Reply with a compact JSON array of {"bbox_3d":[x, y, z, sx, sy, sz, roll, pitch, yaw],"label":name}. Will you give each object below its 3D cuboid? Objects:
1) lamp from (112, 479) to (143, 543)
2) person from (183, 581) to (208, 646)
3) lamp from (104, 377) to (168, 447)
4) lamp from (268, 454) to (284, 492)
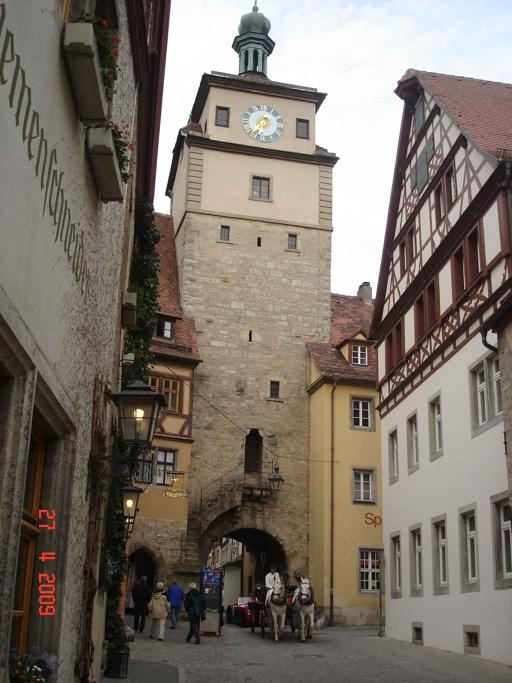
[{"bbox_3d":[-2.079,2.685,12.008,0.457,1.328,0.472,-4,-2,-2],"label":"lamp"},{"bbox_3d":[-1.532,6.919,18.928,0.495,1.508,1.914,3,-24,-4],"label":"person"},{"bbox_3d":[-0.987,0.607,6.454,0.358,0.622,0.364,-1,-3,-30],"label":"lamp"},{"bbox_3d":[0.855,5.640,31.703,0.654,1.443,1.129,1,-23,2],"label":"lamp"}]
